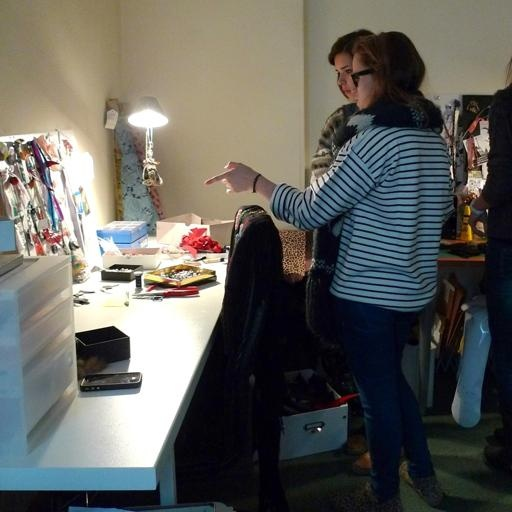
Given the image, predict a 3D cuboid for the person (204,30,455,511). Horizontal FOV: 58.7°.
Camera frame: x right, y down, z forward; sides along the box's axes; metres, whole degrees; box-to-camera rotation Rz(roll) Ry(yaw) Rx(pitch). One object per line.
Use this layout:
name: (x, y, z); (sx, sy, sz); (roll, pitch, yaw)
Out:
person: (0.361, 0.136, 1.407); (0.576, 1.542, 0.311); (-5, 12, -20)

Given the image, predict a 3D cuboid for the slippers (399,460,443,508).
slippers: (0.596, 0.814, 1.687); (0.072, 0.084, 0.201); (-10, 17, -18)

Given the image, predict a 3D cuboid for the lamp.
lamp: (-0.648, -0.648, 2.715); (0.223, 0.509, 0.859); (-4, 12, -15)

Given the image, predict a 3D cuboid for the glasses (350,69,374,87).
glasses: (0.295, -0.508, 1.297); (0.035, 0.042, 0.106); (-4, 12, -12)

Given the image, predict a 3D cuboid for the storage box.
storage box: (0.231, 0.668, 1.868); (0.328, 0.217, 0.338); (-4, 9, -14)

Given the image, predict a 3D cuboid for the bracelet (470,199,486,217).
bracelet: (0.843, -0.179, 1.718); (0.049, 0.027, 0.069); (10, -17, 13)
